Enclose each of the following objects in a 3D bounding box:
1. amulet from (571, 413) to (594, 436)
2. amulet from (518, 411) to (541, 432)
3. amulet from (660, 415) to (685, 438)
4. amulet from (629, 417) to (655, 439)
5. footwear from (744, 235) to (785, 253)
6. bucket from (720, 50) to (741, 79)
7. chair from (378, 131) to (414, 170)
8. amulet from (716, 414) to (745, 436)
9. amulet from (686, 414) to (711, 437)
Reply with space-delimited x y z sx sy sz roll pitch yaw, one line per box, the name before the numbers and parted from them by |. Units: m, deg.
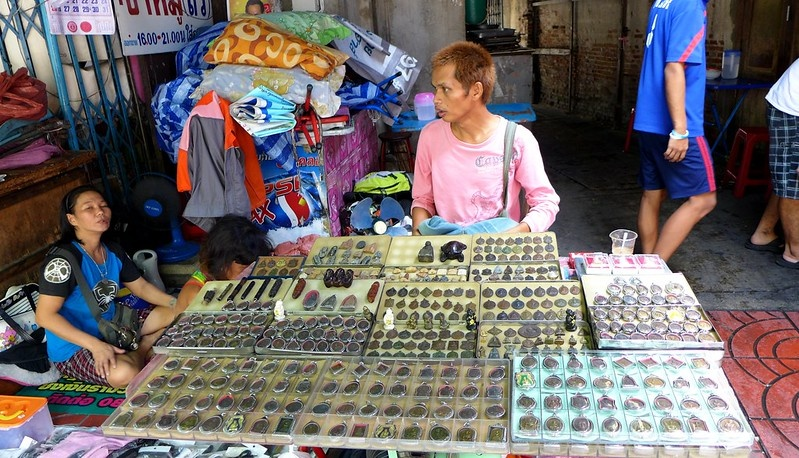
amulet | 0.925 1.002 2.339 0.114 0.037 0.089 -10 28 -17
amulet | 0.656 0.995 2.354 0.115 0.025 0.091 -8 27 -13
amulet | 1.360 0.997 2.307 0.110 0.041 0.101 4 27 11
amulet | 1.208 1.006 2.316 0.123 0.042 0.096 -1 27 1
footwear | 4.156 0.181 5.260 0.496 0.148 0.187 -3 -9 20
bucket | 4.869 -2.418 6.778 0.227 0.382 0.405 12 30 24
chair | -0.045 -1.187 7.123 0.655 0.751 0.614 -3 13 1
amulet | 1.636 0.978 2.291 0.125 0.026 0.081 -3 27 -2
amulet | 1.486 0.988 2.302 0.094 0.036 0.107 5 27 14
